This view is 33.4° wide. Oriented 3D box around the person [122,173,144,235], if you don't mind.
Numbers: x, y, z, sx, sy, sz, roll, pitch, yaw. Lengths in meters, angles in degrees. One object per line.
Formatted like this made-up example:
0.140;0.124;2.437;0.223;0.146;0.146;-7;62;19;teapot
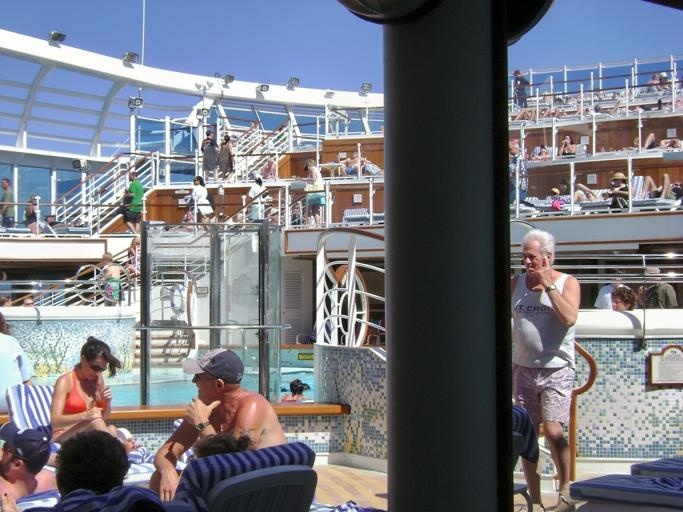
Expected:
-4.804;-1.264;26.150;0.455;1.420;1.043;-1;-3;-11;person

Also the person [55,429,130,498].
-2.893;2.371;13.255;0.713;0.760;0.781;1;-1;-10;person

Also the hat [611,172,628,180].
5.559;-1.627;22.864;0.289;0.118;0.324;1;-6;13;hat

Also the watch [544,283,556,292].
2.605;0.373;14.230;0.123;0.066;0.115;-4;-6;-15;watch

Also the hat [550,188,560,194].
4.221;-1.312;22.534;0.063;0.107;0.158;-31;-49;33;hat

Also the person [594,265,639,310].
4.207;0.455;17.371;0.302;0.981;0.639;14;-16;-24;person

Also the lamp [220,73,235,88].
-3.589;-5.528;35.795;0.508;0.464;0.285;1;7;6;lamp

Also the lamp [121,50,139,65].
-6.311;-5.884;33.650;0.697;0.476;0.268;3;32;23;lamp

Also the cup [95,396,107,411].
-3.201;1.946;15.180;0.147;0.103;0.145;3;3;0;cup

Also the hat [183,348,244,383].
-1.589;1.290;14.029;0.635;0.309;0.394;9;-1;2;hat

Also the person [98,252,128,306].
-4.733;0.431;23.482;0.486;1.129;1.895;-1;-3;-12;person

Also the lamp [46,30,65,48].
-7.985;-6.110;31.877;0.474;0.324;0.458;-4;0;2;lamp
